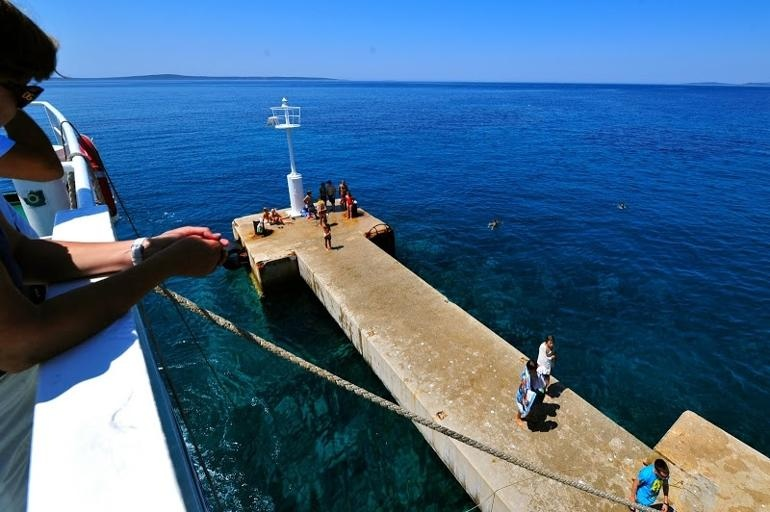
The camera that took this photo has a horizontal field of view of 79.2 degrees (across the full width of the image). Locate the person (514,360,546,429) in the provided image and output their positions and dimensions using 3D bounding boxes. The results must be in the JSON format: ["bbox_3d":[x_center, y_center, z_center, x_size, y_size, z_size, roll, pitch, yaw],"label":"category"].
[{"bbox_3d":[3.496,3.452,11.313,0.573,1.421,0.885,-12,40,-12],"label":"person"}]

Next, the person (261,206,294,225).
[{"bbox_3d":[-4.966,-1.881,21.433,1.122,0.753,1.493,4,26,10],"label":"person"}]
